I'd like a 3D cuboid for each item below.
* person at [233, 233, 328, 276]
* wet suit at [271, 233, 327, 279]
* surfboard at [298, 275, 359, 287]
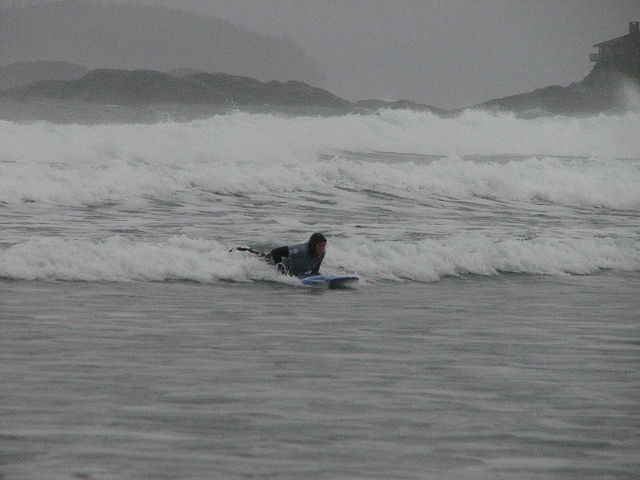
[{"bbox_3d":[-0.835,0.338,37.743,1.940,1.121,0.871,5,-1,-4],"label":"person"},{"bbox_3d":[-0.496,0.379,37.607,1.042,0.632,1.538,6,-10,-34],"label":"wet suit"},{"bbox_3d":[0.020,0.984,37.241,1.141,0.117,0.526,3,6,35],"label":"surfboard"}]
